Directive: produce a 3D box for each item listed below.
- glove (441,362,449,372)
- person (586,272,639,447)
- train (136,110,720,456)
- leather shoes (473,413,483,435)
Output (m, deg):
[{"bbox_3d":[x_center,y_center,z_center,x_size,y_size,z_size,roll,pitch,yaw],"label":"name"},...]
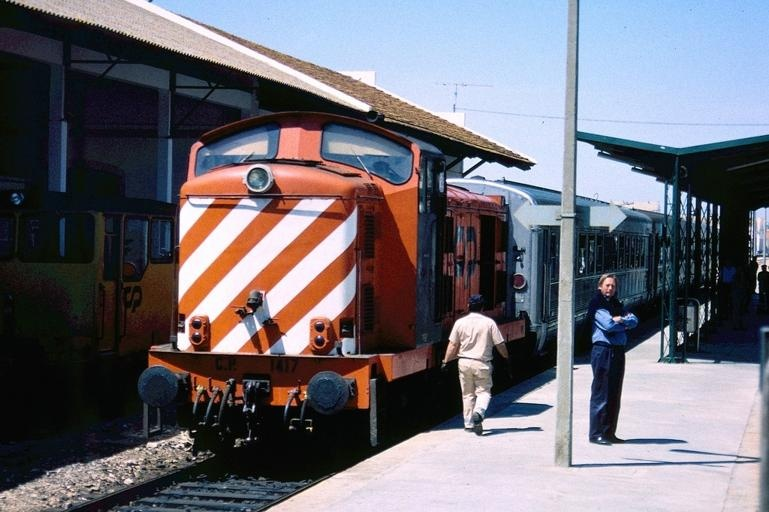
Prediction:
[{"bbox_3d":[0.946,1.735,11.786,0.049,0.144,0.107,4,5,-11],"label":"glove"},{"bbox_3d":[3.195,1.508,10.803,0.547,2.437,0.603,1,-2,-4],"label":"person"},{"bbox_3d":[1.565,0.401,17.303,3.782,4.541,16.633,1,0,25],"label":"train"},{"bbox_3d":[1.442,2.595,11.617,0.132,0.325,0.145,-5,-14,7],"label":"leather shoes"}]
